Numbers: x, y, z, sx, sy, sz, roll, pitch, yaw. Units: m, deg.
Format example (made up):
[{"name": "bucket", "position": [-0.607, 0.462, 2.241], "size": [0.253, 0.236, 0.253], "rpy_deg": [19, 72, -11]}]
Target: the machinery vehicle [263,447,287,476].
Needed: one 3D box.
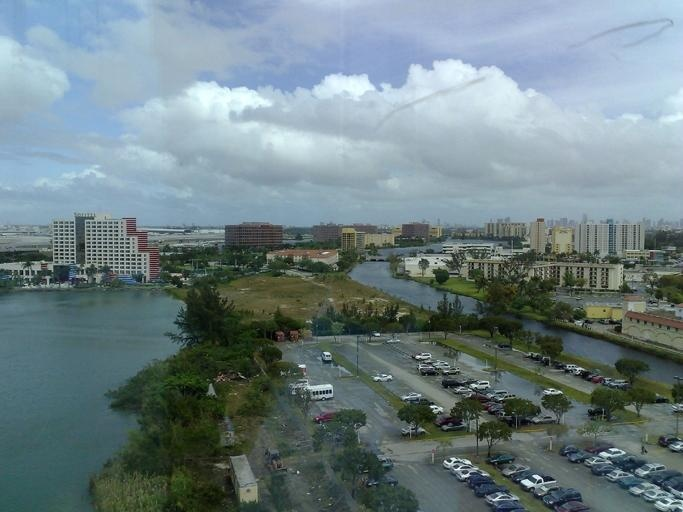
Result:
[{"name": "machinery vehicle", "position": [-1.864, 5.635, 15.712], "size": [0.321, 0.394, 0.881], "rpy_deg": [0, -1, -16]}]
